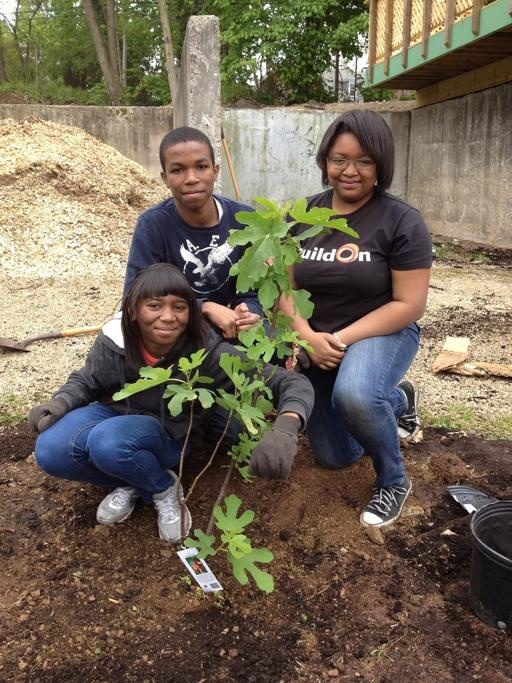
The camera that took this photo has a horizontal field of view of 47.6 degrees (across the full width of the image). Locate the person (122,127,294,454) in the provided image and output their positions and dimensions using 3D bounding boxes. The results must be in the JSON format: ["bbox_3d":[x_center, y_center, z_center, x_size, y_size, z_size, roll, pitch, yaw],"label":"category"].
[{"bbox_3d":[-0.222,-0.350,2.381,0.651,0.958,0.589,-6,21,-19],"label":"person"}]

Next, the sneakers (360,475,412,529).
[{"bbox_3d":[0.456,0.554,2.033,0.094,0.070,0.210,9,26,37],"label":"sneakers"}]

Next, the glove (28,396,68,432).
[{"bbox_3d":[-0.694,0.233,1.969,0.101,0.048,0.123,4,31,40],"label":"glove"}]

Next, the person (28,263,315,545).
[{"bbox_3d":[-0.258,0.221,1.944,0.928,0.927,0.543,8,21,26],"label":"person"}]

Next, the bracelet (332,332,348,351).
[{"bbox_3d":[0.304,-0.002,2.130,0.047,0.057,0.017,-14,13,21],"label":"bracelet"}]

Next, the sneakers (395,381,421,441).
[{"bbox_3d":[0.715,0.333,2.597,0.113,0.295,0.127,-7,11,21],"label":"sneakers"}]

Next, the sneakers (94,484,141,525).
[{"bbox_3d":[-0.488,0.581,2.117,0.088,0.079,0.190,36,17,3],"label":"sneakers"}]

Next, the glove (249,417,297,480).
[{"bbox_3d":[0.057,0.282,1.590,0.121,0.075,0.201,10,41,24],"label":"glove"}]
